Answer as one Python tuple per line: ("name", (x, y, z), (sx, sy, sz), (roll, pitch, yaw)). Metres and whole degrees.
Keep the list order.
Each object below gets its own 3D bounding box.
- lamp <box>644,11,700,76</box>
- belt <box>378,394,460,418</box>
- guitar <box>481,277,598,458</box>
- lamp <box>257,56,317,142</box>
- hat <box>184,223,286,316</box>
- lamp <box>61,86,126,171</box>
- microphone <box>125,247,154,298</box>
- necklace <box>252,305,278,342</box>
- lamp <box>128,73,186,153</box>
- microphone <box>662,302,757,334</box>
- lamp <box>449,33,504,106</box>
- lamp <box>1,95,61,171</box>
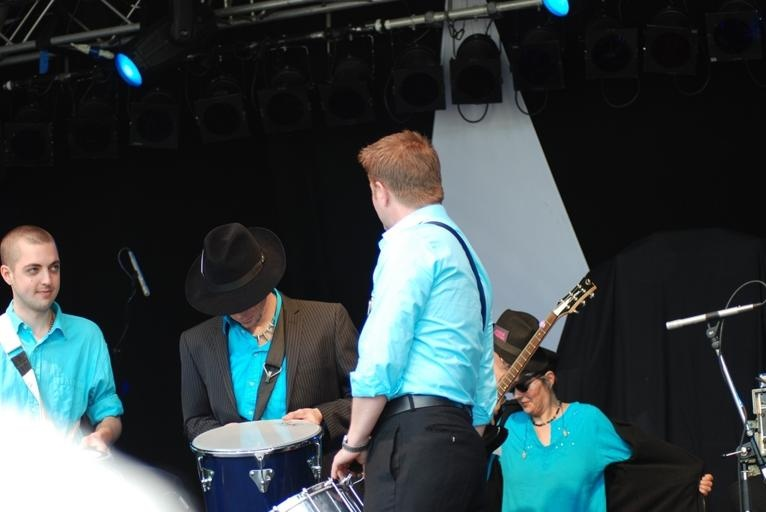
("lamp", (2.666, -1.967, 5.855), (0.520, 0.760, 0.389), (1, 16, 17))
("belt", (0.202, 0.754, 3.205), (0.401, 0.112, 0.080), (0, -8, -1))
("guitar", (1.174, 0.781, 4.952), (0.578, 1.545, 0.186), (31, -10, 38))
("lamp", (-1.040, -1.686, 6.707), (0.557, 0.885, 0.204), (-5, 15, 7))
("hat", (-0.996, 0.104, 4.319), (0.644, 0.606, 0.544), (3, -8, -16))
("lamp", (-3.260, -1.559, 7.206), (0.497, 0.871, 0.321), (3, -8, -18))
("microphone", (-2.837, 0.189, 7.407), (0.272, 0.548, 0.113), (-2, -7, 19))
("necklace", (-0.802, 0.458, 4.278), (0.136, 0.195, 0.050), (-24, -12, 7))
("lamp", (-2.494, -1.565, 7.030), (0.495, 0.788, 0.193), (-1, 14, -4))
("microphone", (2.907, 0.543, 5.580), (0.896, 0.129, 0.133), (-12, 29, 11))
("lamp", (0.933, -1.842, 6.231), (0.496, 0.718, 0.244), (4, 12, 8))
("lamp", (-4.037, -1.437, 7.243), (0.519, 0.779, 0.450), (4, -8, -24))
